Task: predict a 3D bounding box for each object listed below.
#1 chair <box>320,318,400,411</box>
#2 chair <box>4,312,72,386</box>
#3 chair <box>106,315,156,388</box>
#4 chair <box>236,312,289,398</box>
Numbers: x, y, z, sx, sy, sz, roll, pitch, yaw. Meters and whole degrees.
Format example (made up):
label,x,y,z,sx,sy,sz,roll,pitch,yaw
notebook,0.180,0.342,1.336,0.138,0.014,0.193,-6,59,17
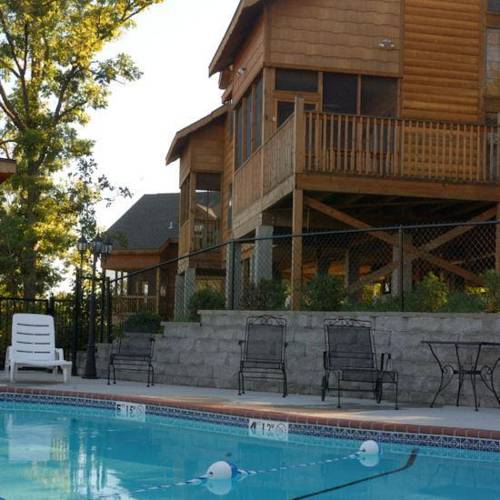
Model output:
label,x,y,z,sx,sy,sz,roll,pitch,yaw
chair,1.543,1.576,13.623,0.838,1.460,1.568,0,-8,-5
chair,-3.661,1.591,16.143,0.804,1.431,1.475,3,-10,-20
chair,-2.046,1.872,16.466,0.839,0.878,0.374,-2,-4,27
chair,0.188,1.633,15.011,0.888,1.285,1.112,1,-7,9
